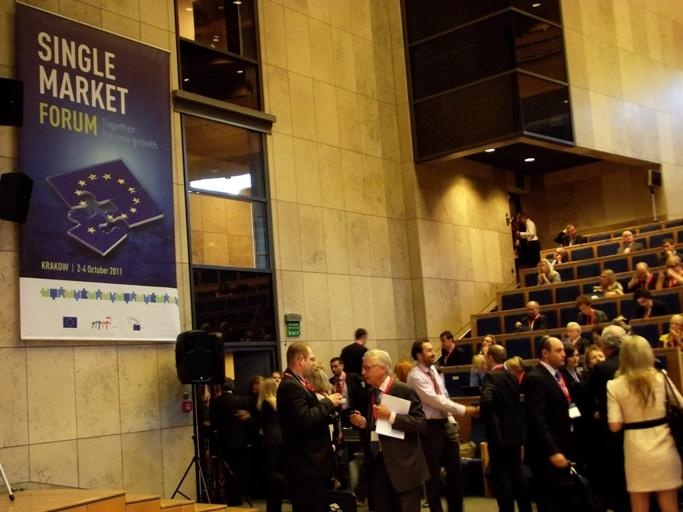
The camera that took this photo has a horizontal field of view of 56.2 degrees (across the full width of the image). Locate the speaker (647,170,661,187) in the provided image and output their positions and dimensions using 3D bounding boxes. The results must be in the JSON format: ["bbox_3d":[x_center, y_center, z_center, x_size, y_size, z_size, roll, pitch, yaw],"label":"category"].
[{"bbox_3d":[8.884,-2.240,18.110,0.283,0.554,0.602,-10,-10,42],"label":"speaker"}]

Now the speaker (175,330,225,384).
[{"bbox_3d":[-2.056,1.521,9.870,0.806,0.885,0.663,-1,-2,3],"label":"speaker"}]

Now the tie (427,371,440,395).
[{"bbox_3d":[1.075,1.489,7.522,0.090,0.234,0.175,-29,-5,32],"label":"tie"}]

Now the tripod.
[{"bbox_3d":[-2.333,2.861,9.829,0.579,1.816,1.289,-1,-8,-15],"label":"tripod"}]
